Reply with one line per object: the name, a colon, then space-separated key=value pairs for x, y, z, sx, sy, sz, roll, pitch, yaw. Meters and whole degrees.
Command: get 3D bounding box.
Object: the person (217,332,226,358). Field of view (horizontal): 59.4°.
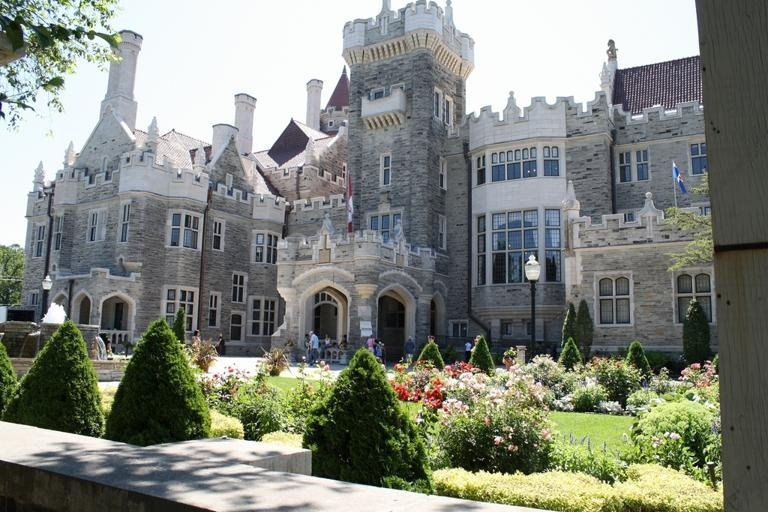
person: x=-8.197 y=4.447 z=33.906 sx=0.447 sy=1.097 sz=1.469 roll=2 pitch=-10 yaw=-11
